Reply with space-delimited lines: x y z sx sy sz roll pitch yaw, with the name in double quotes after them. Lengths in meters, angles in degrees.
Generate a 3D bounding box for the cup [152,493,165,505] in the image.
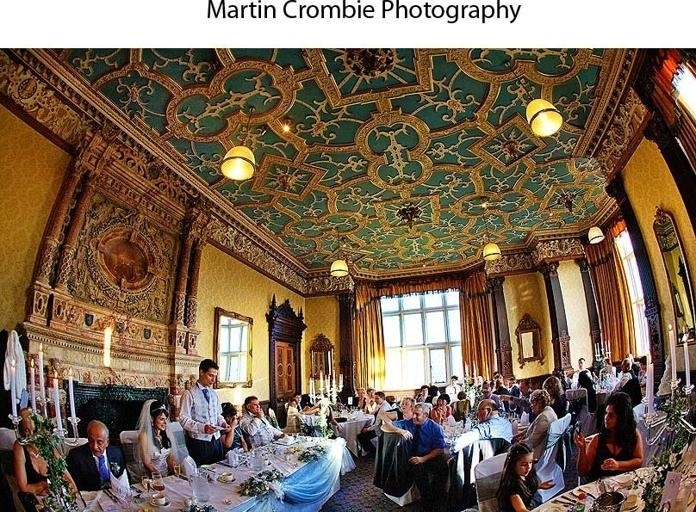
-1.527 1.974 3.501 0.062 0.062 0.085 -1 -11 -11 "cup"

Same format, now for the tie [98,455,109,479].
-2.264 1.972 4.022 0.049 0.234 0.126 -11 -12 7 "tie"

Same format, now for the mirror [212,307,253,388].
-2.581 2.061 9.549 0.111 1.676 1.619 -6 -15 15 "mirror"

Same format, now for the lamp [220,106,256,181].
-1.409 -1.727 5.958 0.360 1.284 0.360 12 -28 -18 "lamp"

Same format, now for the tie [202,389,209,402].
-1.771 1.745 5.381 0.076 0.148 0.033 -6 -17 -45 "tie"

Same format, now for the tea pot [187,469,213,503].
-1.180 1.912 3.560 0.153 0.251 0.256 -3 -21 -10 "tea pot"
